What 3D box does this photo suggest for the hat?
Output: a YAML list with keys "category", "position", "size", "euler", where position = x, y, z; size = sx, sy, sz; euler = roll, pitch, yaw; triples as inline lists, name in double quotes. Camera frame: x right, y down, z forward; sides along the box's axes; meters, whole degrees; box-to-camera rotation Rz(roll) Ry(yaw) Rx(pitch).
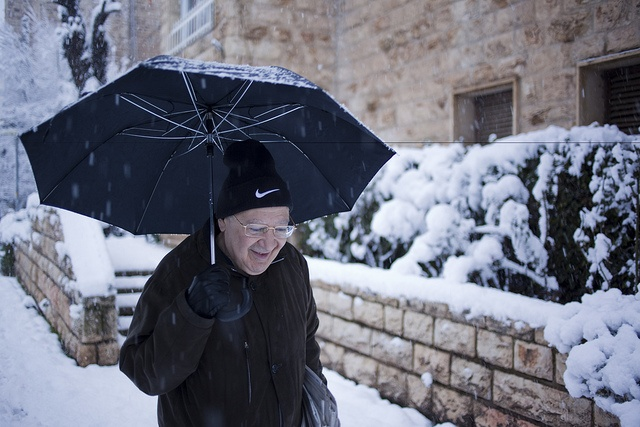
- category: "hat"
  position: [-0.721, -0.300, 9.662]
  size: [0.757, 0.914, 0.690]
  euler: [-13, -9, 32]
